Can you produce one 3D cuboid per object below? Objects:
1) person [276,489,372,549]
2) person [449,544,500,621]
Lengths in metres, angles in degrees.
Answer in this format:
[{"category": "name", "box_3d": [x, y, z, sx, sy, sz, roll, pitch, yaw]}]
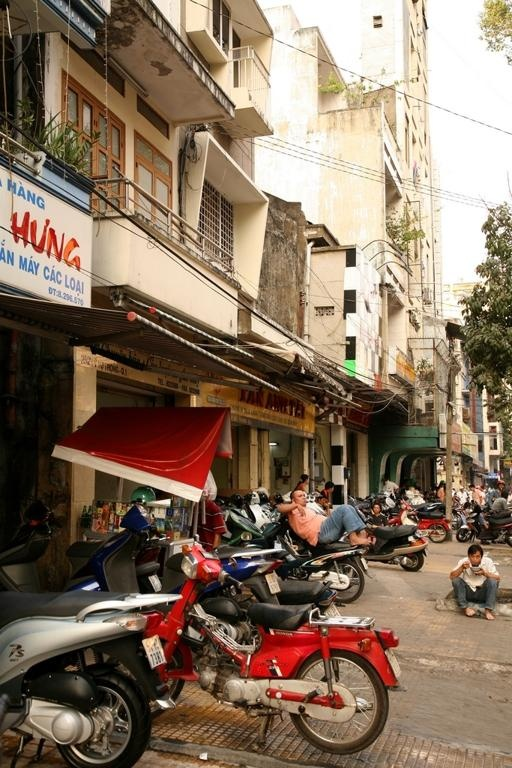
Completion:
[{"category": "person", "box_3d": [0.881, 1.459, 8.807, 1.010, 0.734, 0.610, -7, -9, 24]}, {"category": "person", "box_3d": [2.550, 1.998, 8.078, 0.455, 0.759, 0.818, 1, -11, 15]}]
